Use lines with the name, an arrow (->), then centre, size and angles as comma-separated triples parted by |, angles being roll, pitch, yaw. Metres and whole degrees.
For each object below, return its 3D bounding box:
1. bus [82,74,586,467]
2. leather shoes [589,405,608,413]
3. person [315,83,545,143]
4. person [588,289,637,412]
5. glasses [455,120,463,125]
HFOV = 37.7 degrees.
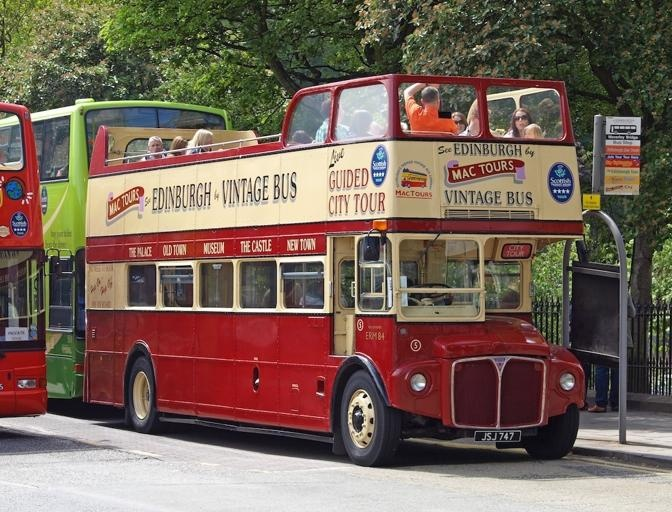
bus -> -0.098, 0.393, 14.220 | 2.218, 3.429, 5.460 | -1, 0, -35
leather shoes -> 4.763, 2.776, 18.008 | 0.340, 0.179, 0.142 | 3, 2, 35
person -> 1.404, -1.958, 13.254 | 3.063, 0.804, 0.944 | 0, -3, -3
person -> 4.816, 1.794, 17.383 | 0.689, 0.754, 2.544 | 7, -49, 17
glasses -> 1.644, -1.775, 13.145 | 0.148, 0.074, 0.043 | 1, -3, -25
